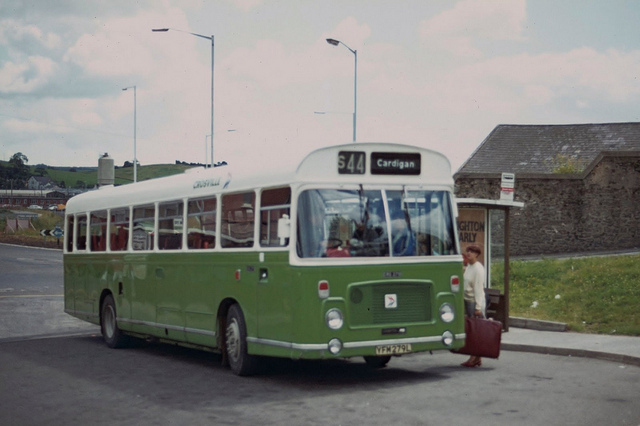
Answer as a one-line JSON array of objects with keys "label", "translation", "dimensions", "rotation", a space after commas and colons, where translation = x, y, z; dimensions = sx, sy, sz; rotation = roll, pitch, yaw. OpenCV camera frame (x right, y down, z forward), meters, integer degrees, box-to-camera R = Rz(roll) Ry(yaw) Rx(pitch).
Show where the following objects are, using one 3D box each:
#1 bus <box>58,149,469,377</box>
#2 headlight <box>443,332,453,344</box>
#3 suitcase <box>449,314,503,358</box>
[{"label": "bus", "translation": [-2.357, 1.233, 17.690], "dimensions": [3.968, 4.487, 12.089], "rotation": [3, -4, -38]}, {"label": "headlight", "translation": [2.418, 2.381, 13.300], "dimensions": [0.220, 0.211, 0.054], "rotation": [3, 5, -34]}, {"label": "suitcase", "translation": [3.222, 2.454, 14.333], "dimensions": [1.120, 1.016, 0.407], "rotation": [5, 3, 38]}]
